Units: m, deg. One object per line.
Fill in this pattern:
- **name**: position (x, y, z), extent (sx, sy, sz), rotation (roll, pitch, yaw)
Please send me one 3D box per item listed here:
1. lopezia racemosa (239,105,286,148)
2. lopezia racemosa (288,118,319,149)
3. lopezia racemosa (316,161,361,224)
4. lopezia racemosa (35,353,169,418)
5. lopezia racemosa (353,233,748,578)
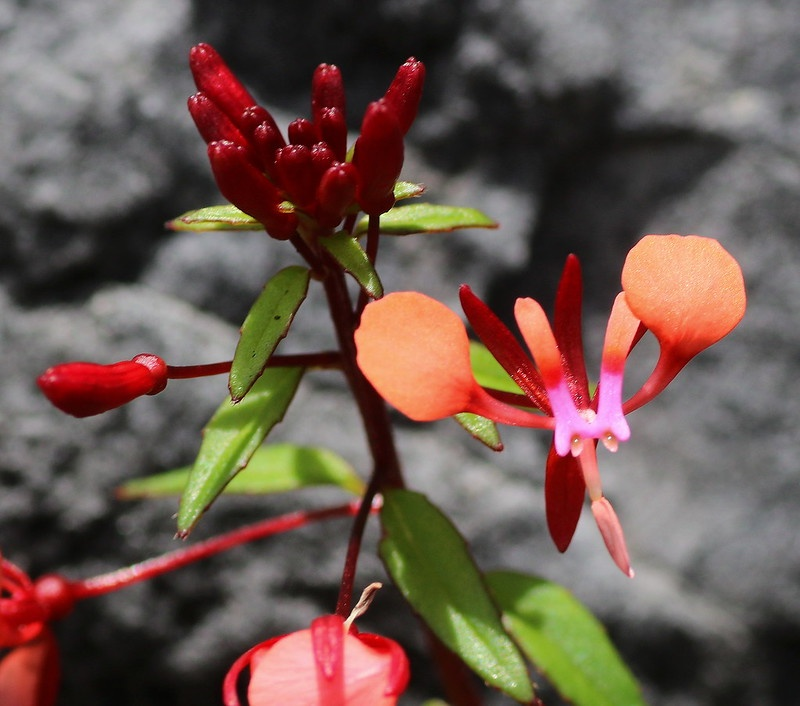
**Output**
- **lopezia racemosa**: position (-0.261, -0.438, 1.879), extent (0.055, 0.045, 0.113), rotation (-29, 58, -14)
- **lopezia racemosa**: position (-0.182, -0.417, 1.845), extent (0.048, 0.035, 0.060), rotation (-19, 96, -11)
- **lopezia racemosa**: position (-0.108, -0.285, 1.773), extent (0.063, 0.114, 0.037), rotation (15, 33, -6)
- **lopezia racemosa**: position (-0.535, 0.047, 1.778), extent (0.224, 0.106, 0.092), rotation (-7, 99, -28)
- **lopezia racemosa**: position (0.299, 0.128, 1.765), extent (0.710, 0.239, 0.582), rotation (-11, 91, -7)
